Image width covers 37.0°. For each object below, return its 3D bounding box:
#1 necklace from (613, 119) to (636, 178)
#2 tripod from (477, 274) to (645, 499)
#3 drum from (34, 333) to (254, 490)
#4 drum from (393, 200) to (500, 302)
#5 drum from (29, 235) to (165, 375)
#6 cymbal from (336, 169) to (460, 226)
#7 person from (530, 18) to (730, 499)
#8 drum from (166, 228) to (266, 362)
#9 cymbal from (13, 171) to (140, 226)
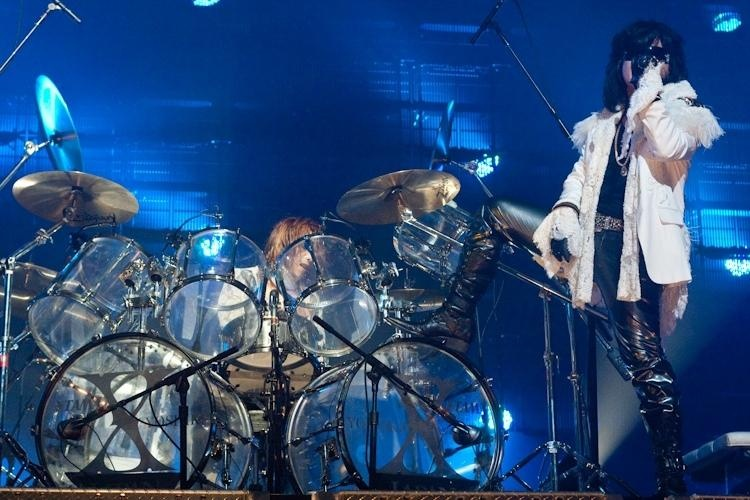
[{"bbox_3d":[1.875,-0.790,8.503,0.078,0.358,0.251,3,6,5],"label":"necklace"},{"bbox_3d":[1.872,1.133,9.861,1.477,2.272,1.515,-3,-3,1],"label":"tripod"},{"bbox_3d":[-1.796,1.384,8.279,1.239,1.373,0.907,-1,-33,-6],"label":"drum"},{"bbox_3d":[0.614,-0.074,9.692,0.713,0.631,0.586,34,15,23],"label":"drum"},{"bbox_3d":[-2.247,0.407,8.910,0.891,0.903,0.972,13,-46,29],"label":"drum"},{"bbox_3d":[0.149,-0.496,9.111,1.038,0.222,1.105,-3,-15,-11],"label":"cymbal"},{"bbox_3d":[1.920,0.006,8.300,1.258,3.485,0.811,-5,-19,20],"label":"person"},{"bbox_3d":[-1.171,0.375,8.854,0.785,0.911,0.867,2,-11,-1],"label":"drum"},{"bbox_3d":[-2.444,-0.513,9.255,0.908,0.220,0.976,5,-23,-3],"label":"cymbal"}]
